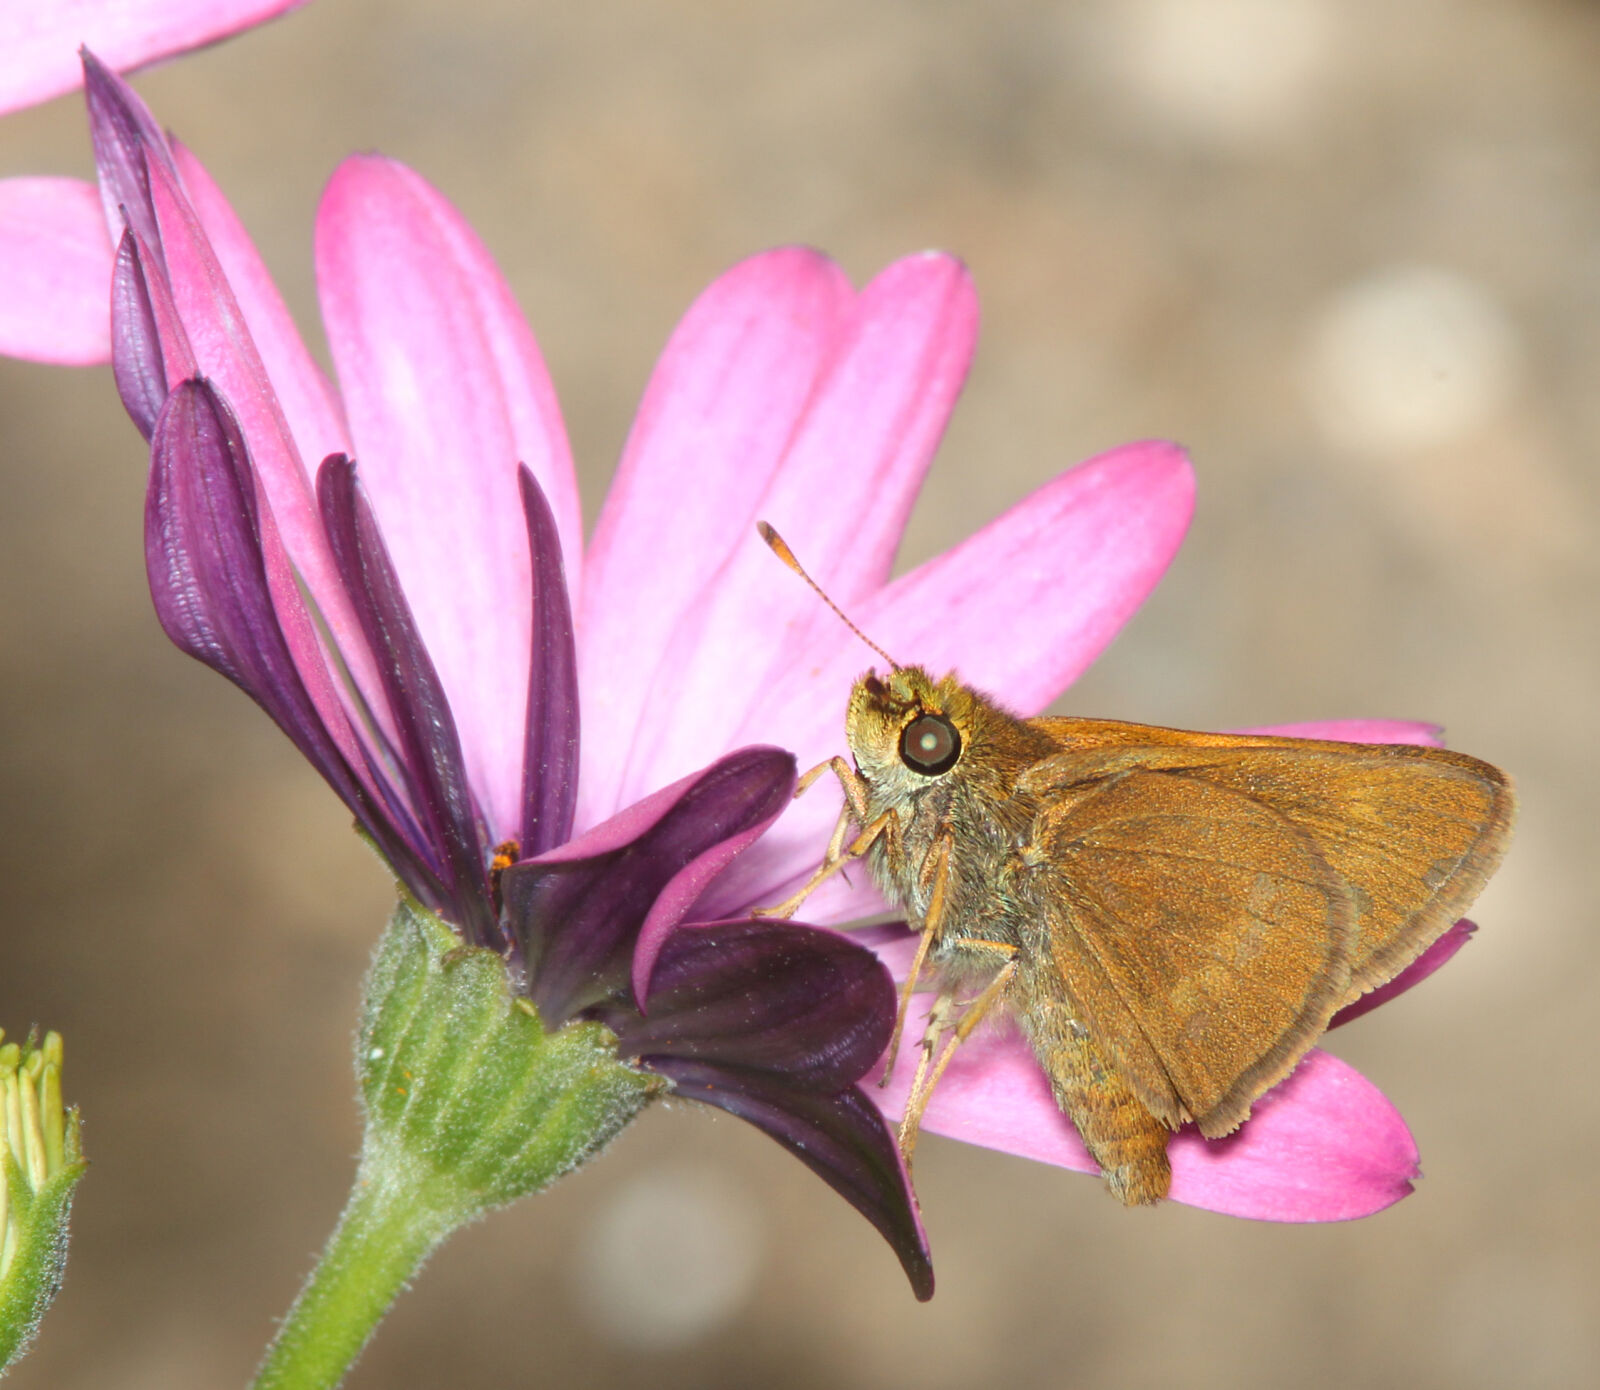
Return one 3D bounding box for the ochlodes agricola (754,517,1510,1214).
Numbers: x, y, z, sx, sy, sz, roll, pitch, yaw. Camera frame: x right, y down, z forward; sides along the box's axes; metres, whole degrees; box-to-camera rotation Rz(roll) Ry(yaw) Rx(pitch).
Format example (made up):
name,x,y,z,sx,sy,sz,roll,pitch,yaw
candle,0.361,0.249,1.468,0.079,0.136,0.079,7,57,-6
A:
name,x,y,z,sx,sy,sz,roll,pitch,yaw
ochlodes agricola,0.113,0.085,0.943,0.383,0.314,0.238,37,-99,-16
